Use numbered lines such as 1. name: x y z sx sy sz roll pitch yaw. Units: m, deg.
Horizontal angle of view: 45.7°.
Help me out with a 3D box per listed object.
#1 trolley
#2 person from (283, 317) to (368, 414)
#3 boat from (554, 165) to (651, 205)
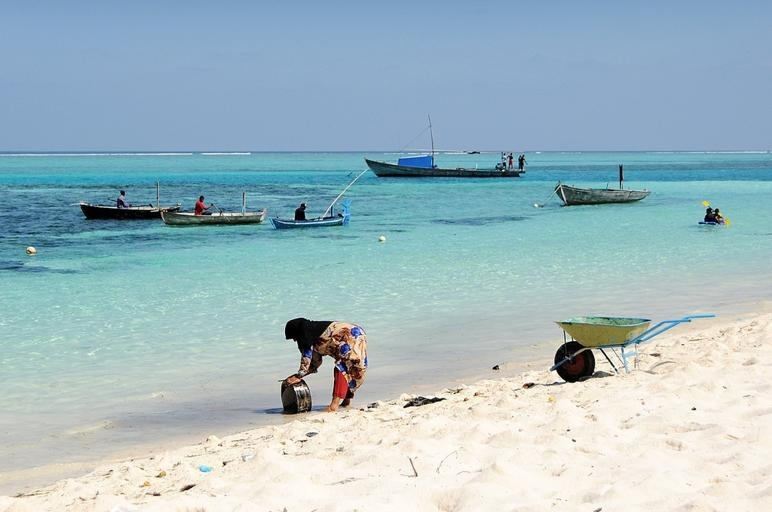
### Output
1. trolley: 3.934 1.459 14.726 2.563 0.849 1.019 -5 -9 20
2. person: -0.910 1.744 14.818 1.212 1.597 0.355 -6 16 -4
3. boat: 11.383 -3.232 48.155 4.542 1.271 1.231 -5 13 -11
